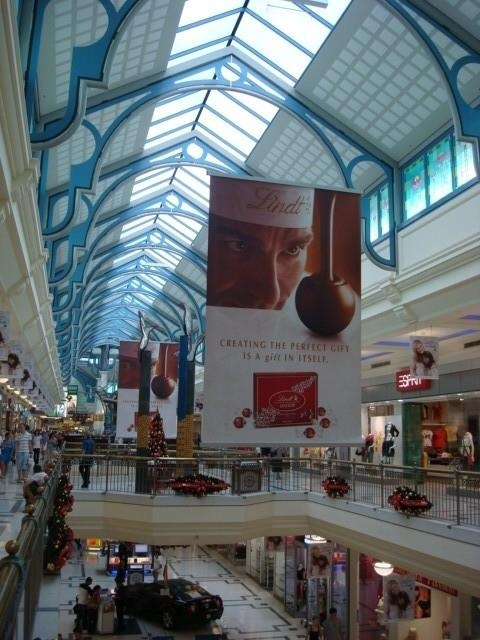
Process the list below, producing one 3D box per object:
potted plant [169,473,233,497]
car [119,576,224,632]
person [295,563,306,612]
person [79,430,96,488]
[{"bbox_3d":[-1.177,4.827,14.025,0.899,0.338,0.895,3,-3,-31],"label":"potted plant"},{"bbox_3d":[-2.422,10.557,17.702,3.781,1.286,1.359,-12,-17,41],"label":"car"},{"bbox_3d":[2.287,10.084,18.026,0.369,1.714,0.888,-1,-13,6],"label":"person"},{"bbox_3d":[-5.079,4.716,15.981,0.408,1.507,2.936,4,-13,-16],"label":"person"}]
